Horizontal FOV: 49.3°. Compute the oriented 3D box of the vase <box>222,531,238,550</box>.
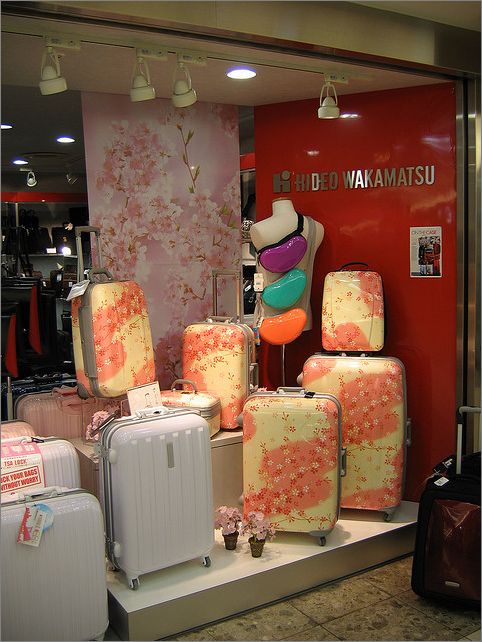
[{"bbox_3d":[-0.045,0.964,2.283,0.084,0.060,0.080,0,4,3],"label":"vase"}]

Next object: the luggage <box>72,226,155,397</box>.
[{"bbox_3d":[-0.583,0.050,2.422,0.379,0.597,0.280,-6,5,-34],"label":"luggage"}]

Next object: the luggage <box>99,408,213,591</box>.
[{"bbox_3d":[-0.332,0.697,2.068,0.414,0.653,0.225,-6,5,-36],"label":"luggage"}]

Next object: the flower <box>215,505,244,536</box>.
[{"bbox_3d":[-0.051,0.876,2.285,0.109,0.133,0.080,-3,4,-9],"label":"flower"}]

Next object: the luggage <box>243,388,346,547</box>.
[{"bbox_3d":[0.231,0.633,2.346,0.452,0.634,0.206,-3,4,-1],"label":"luggage"}]

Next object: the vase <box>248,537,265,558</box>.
[{"bbox_3d":[0.066,0.961,2.219,0.064,0.099,0.056,-3,4,5],"label":"vase"}]

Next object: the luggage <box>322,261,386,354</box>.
[{"bbox_3d":[0.593,-0.051,2.769,0.302,0.412,0.150,-1,5,18],"label":"luggage"}]

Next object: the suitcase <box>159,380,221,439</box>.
[{"bbox_3d":[-0.220,0.405,2.356,0.270,0.178,0.146,5,11,33],"label":"suitcase"}]

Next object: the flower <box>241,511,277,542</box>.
[{"bbox_3d":[0.075,0.896,2.296,0.142,0.121,0.145,-14,-31,34],"label":"flower"}]
